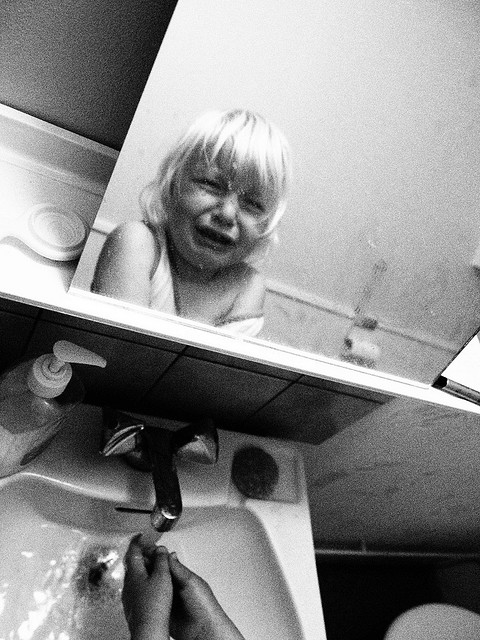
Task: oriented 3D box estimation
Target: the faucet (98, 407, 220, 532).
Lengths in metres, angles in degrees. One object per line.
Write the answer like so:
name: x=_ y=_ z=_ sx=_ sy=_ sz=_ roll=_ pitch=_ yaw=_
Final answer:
faucet: x=-0.099 y=0.159 z=0.636 sx=0.135 sy=0.064 sz=0.154 roll=12 pitch=55 yaw=-43
